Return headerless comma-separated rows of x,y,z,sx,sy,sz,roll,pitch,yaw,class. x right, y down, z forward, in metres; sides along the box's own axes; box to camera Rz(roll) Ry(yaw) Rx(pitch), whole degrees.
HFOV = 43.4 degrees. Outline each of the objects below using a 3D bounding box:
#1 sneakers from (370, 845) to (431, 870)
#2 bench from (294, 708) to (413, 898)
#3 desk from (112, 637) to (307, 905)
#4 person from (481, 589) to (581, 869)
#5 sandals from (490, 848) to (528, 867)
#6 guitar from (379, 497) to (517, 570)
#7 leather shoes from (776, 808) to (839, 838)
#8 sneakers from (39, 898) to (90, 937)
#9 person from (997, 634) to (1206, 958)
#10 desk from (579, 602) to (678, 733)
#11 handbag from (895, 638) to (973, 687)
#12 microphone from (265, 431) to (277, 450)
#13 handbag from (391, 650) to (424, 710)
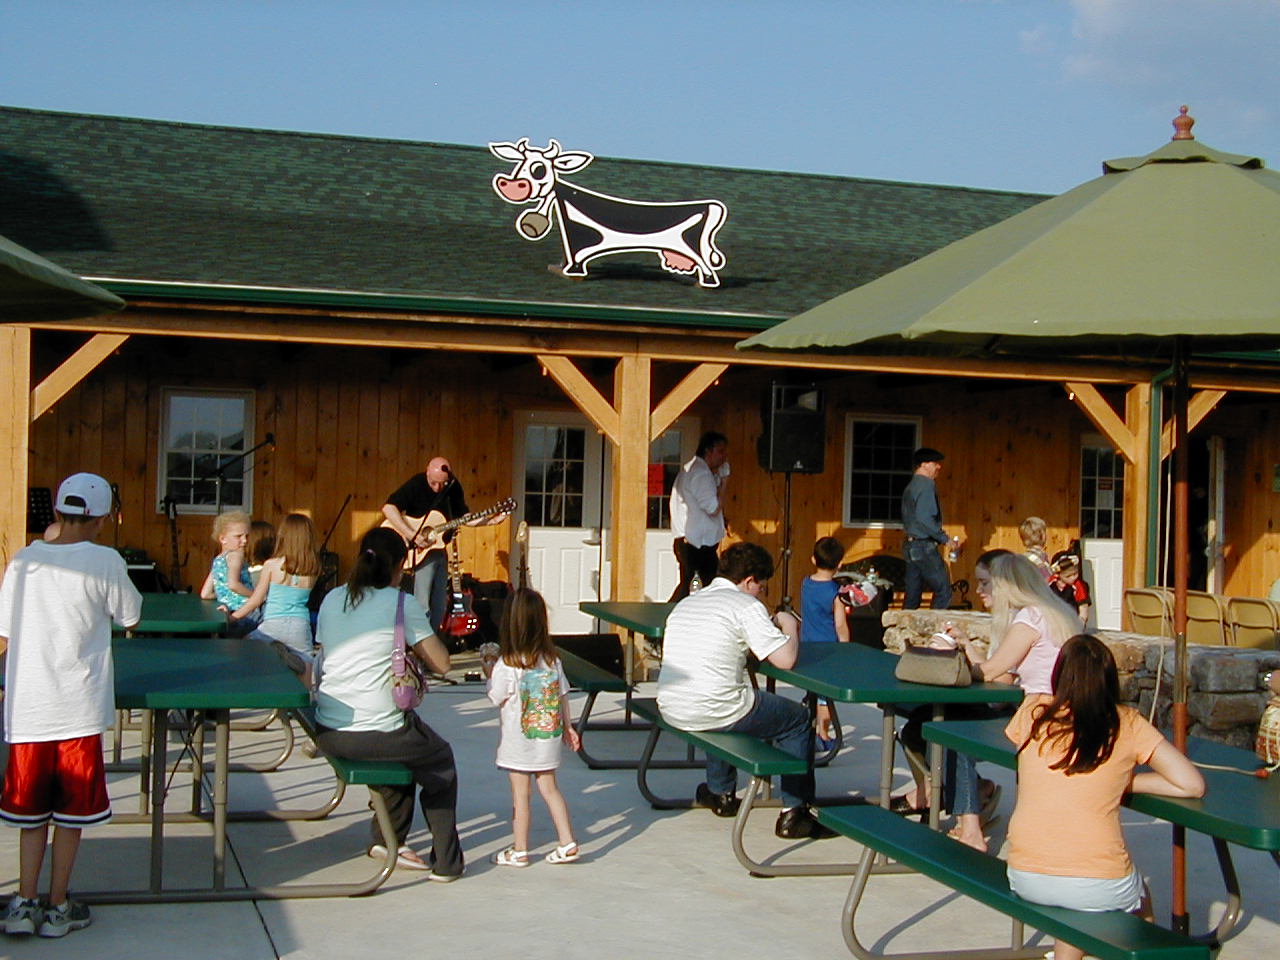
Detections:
-1.206,1.887,8.048,0.336,0.104,0.137,4,4,30,sneakers
-1.454,1.614,8.305,0.479,0.796,1.568,0,-3,-13,bench
-2.156,1.442,8.037,0.947,0.847,1.703,2,-3,-11,desk
-0.536,1.248,8.081,0.444,1.385,0.301,-1,-3,-4,person
-0.650,1.904,8.039,0.165,0.074,0.074,8,-36,8,sandals
-1.637,0.393,13.501,1.177,0.513,0.164,-19,3,-21,guitar
0.877,1.841,8.657,0.406,0.182,0.136,-2,4,-26,leather shoes
-2.537,1.940,7.103,0.083,0.103,0.218,2,4,13,sneakers
1.854,1.192,6.496,0.718,1.102,0.240,-2,-3,12,person
-0.027,1.329,10.585,0.666,0.635,1.247,1,0,-9,desk
1.505,0.866,8.170,0.432,0.236,0.174,3,11,35,handbag
-3.306,-0.361,14.406,0.101,0.123,0.029,1,-4,-30,microphone
-1.106,0.967,7.913,0.209,0.393,0.352,0,-2,-7,handbag
